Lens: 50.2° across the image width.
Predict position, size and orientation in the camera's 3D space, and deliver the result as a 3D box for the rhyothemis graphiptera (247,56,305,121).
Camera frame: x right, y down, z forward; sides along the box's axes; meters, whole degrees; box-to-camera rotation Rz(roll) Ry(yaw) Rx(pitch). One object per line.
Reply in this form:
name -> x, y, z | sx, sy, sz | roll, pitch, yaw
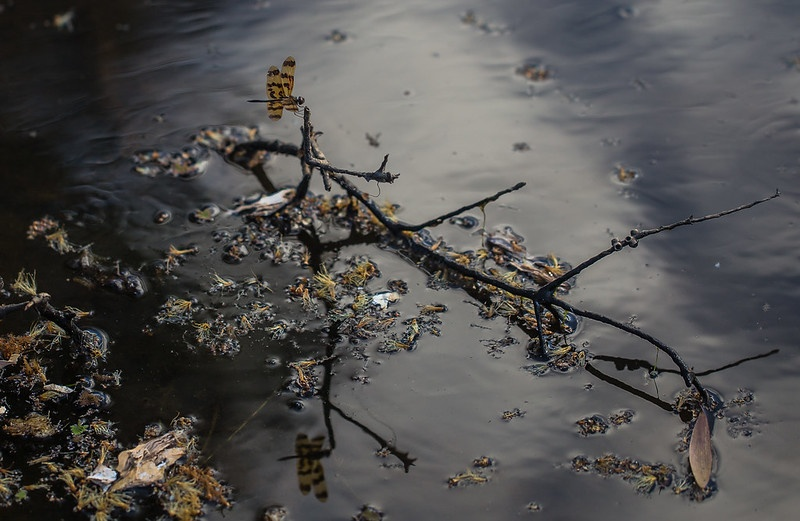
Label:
rhyothemis graphiptera -> -0.785, -1.087, 5.421 | 0.368, 0.446, 0.215 | 4, 42, 0
